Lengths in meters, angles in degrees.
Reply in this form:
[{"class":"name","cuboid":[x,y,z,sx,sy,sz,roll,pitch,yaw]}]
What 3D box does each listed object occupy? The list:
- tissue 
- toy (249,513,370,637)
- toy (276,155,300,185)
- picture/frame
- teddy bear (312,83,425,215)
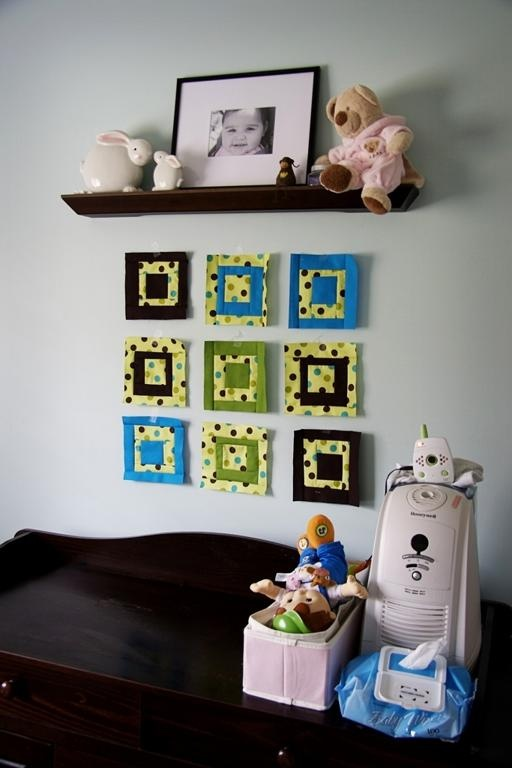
[{"class":"tissue ","cuboid":[0.251,0.517,1.088,0.223,0.106,0.136,2,4,19]},{"class":"toy","cuboid":[0.104,0.367,1.262,0.228,0.155,0.285,1,4,9]},{"class":"toy","cuboid":[0.068,-0.492,1.486,0.040,0.070,0.037,1,4,1]},{"class":"picture/frame","cuboid":[-0.011,-0.629,1.590,0.389,0.272,0.019,2,-1,27]},{"class":"teddy bear","cuboid":[0.260,-0.518,1.423,0.204,0.237,0.256,-41,28,-17]}]
